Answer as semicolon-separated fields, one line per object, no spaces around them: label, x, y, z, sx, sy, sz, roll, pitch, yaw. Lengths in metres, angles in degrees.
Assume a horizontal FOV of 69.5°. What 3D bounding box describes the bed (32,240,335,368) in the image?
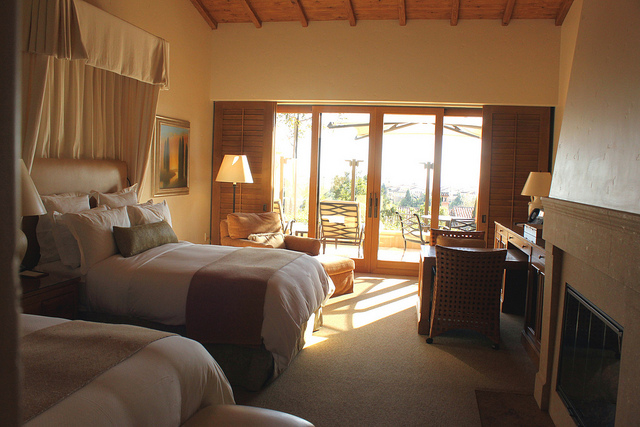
bed;-1.394;0.762;4.883;2.844;0.806;1.750;4;5;9

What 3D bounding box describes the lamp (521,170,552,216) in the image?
lamp;2.680;-0.279;5.737;0.272;0.629;0.330;4;6;-6

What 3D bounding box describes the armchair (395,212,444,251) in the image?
armchair;1.541;0.262;7.255;0.488;0.554;0.524;-4;5;-37

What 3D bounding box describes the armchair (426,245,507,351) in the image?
armchair;1.533;0.818;5.085;0.864;1.451;0.975;2;4;14

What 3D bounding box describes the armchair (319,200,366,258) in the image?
armchair;0.450;0.254;7.828;0.868;1.247;0.843;2;1;11

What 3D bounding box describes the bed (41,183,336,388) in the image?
bed;-1.338;0.512;4.878;2.466;1.511;1.774;5;5;15

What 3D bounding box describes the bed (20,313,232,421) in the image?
bed;-1.158;0.944;2.756;1.053;0.260;1.059;2;3;-21

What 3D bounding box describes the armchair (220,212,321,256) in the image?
armchair;-0.759;0.271;6.583;1.201;0.611;0.974;6;5;4

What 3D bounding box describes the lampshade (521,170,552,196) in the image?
lampshade;2.796;-0.368;5.979;0.309;0.329;0.313;2;-3;-16
